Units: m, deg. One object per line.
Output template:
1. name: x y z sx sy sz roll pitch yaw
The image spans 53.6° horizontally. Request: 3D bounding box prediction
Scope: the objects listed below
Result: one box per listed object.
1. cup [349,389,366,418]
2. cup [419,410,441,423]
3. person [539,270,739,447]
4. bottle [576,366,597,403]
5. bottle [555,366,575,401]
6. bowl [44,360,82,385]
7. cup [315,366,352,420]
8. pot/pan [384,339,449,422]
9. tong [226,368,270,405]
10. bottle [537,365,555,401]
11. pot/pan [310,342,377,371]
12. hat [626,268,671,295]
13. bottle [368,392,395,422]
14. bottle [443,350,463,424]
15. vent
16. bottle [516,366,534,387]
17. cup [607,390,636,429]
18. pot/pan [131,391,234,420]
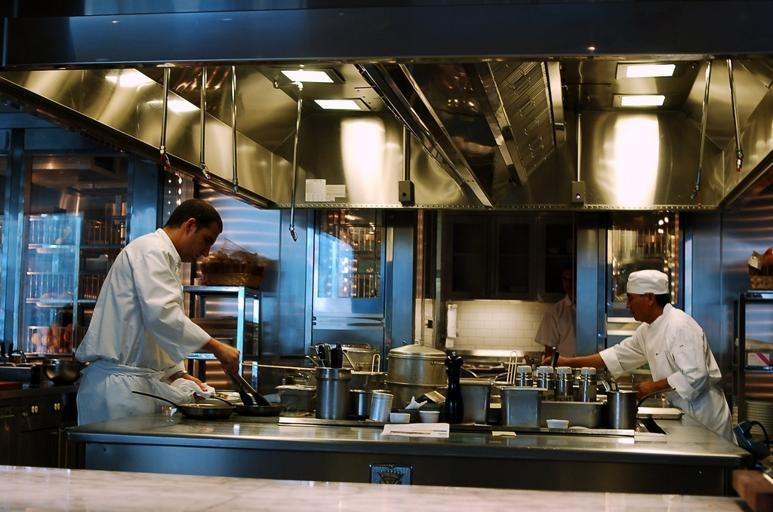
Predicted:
1. cup: -0.143 0.765 3.927 0.122 0.112 0.120 0 -8 0
2. cup: 0.222 0.809 3.853 0.123 0.060 0.108 3 -9 -15
3. person: 1.397 0.700 5.152 1.310 1.511 0.914 -4 -12 5
4. bottle: 1.057 0.680 4.041 0.097 0.178 0.263 -2 -9 14
5. bottle: 0.947 0.684 4.097 0.106 0.177 0.278 -1 -9 13
6. bowl: -2.248 0.808 5.371 0.197 0.124 0.199 1 -9 0
7. cup: -0.267 0.714 3.979 0.230 0.236 0.232 1 -6 0
8. pot/pan: 0.176 0.641 4.062 0.356 0.328 0.320 0 -6 6
9. tong: -0.735 0.700 4.075 0.225 0.187 0.193 4 -10 -19
10. bottle: 0.852 0.678 4.087 0.089 0.169 0.225 -1 -9 11
11. pot/pan: -0.268 0.668 5.237 0.505 0.174 0.372 1 -3 -5
12. hat: 1.654 0.175 4.950 0.192 0.106 0.187 1 0 -6
13. bottle: -0.034 0.763 3.849 0.116 0.148 0.098 0 -9 3
14. bottle: 0.347 0.681 3.941 0.096 0.350 0.173 0 -9 5
15. vent: 0.517 -0.717 4.754 0.309 0.479 2.851 11 -2 18
16. bottle: 0.724 0.639 4.065 0.110 0.118 0.108 0 -6 -3
17. cup: 1.170 0.769 3.825 0.177 0.175 0.174 0 -6 0
18. pot/pan: -1.059 0.779 3.997 0.417 0.137 0.476 8 -12 -38
